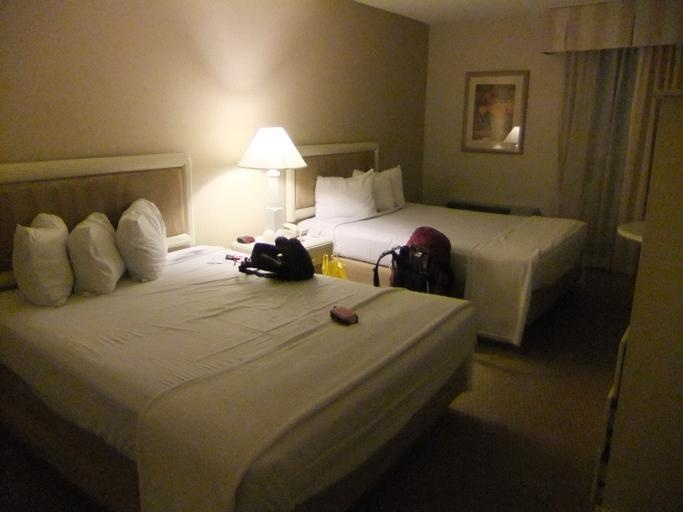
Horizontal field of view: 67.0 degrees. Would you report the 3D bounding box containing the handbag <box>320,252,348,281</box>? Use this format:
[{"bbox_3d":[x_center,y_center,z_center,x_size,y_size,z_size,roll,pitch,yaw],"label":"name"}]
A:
[{"bbox_3d":[-0.066,0.078,4.314,0.174,0.254,0.209,10,18,33],"label":"handbag"}]

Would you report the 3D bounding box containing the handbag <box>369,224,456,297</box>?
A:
[{"bbox_3d":[0.496,0.199,4.102,0.523,0.547,0.395,12,-1,2],"label":"handbag"}]

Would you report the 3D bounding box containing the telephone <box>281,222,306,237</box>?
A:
[{"bbox_3d":[-0.415,-0.244,4.843,0.145,0.143,0.158,17,23,42],"label":"telephone"}]

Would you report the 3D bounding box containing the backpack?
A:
[{"bbox_3d":[-0.438,-0.012,3.610,0.493,0.279,0.239,1,27,-12],"label":"backpack"}]

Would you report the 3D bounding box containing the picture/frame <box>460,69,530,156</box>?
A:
[{"bbox_3d":[1.905,-1.768,6.291,0.897,1.173,0.075,12,20,35],"label":"picture/frame"}]
